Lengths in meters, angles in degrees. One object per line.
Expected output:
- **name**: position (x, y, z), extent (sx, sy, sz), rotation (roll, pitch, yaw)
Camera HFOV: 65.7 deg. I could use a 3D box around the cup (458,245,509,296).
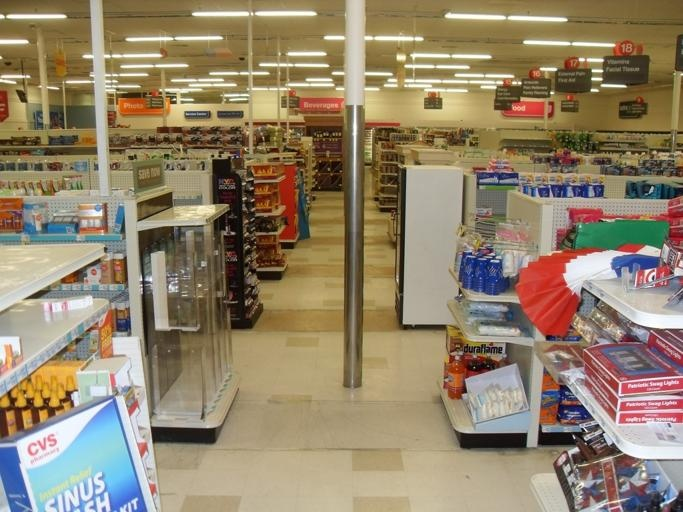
- **cup**: position (1.010, 0.107, 3.859), extent (0.336, 0.196, 0.320), rotation (-1, 11, 0)
